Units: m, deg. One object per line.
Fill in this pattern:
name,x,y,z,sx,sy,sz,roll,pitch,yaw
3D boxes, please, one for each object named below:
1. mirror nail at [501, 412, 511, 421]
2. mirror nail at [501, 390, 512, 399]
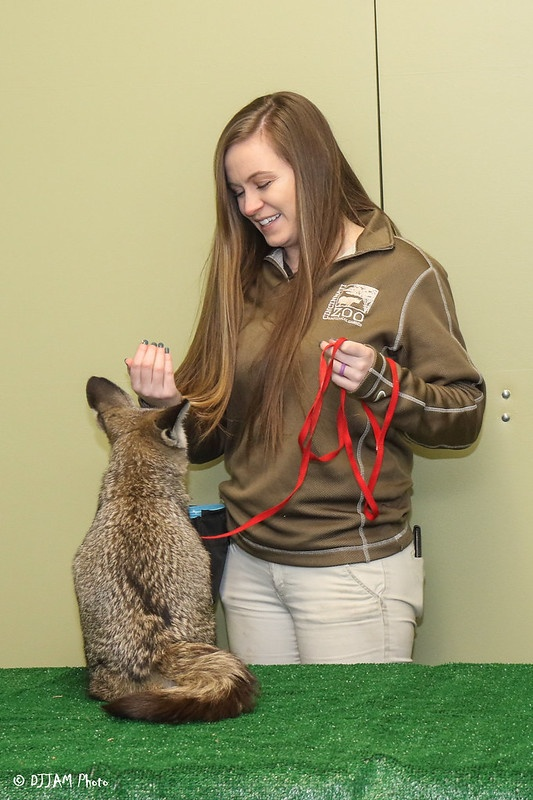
mirror nail,0.797,0.063,2.698,0.027,0.031,0.006,-1,0,18
mirror nail,0.798,-0.015,2.699,0.028,0.033,0.007,-1,0,12
